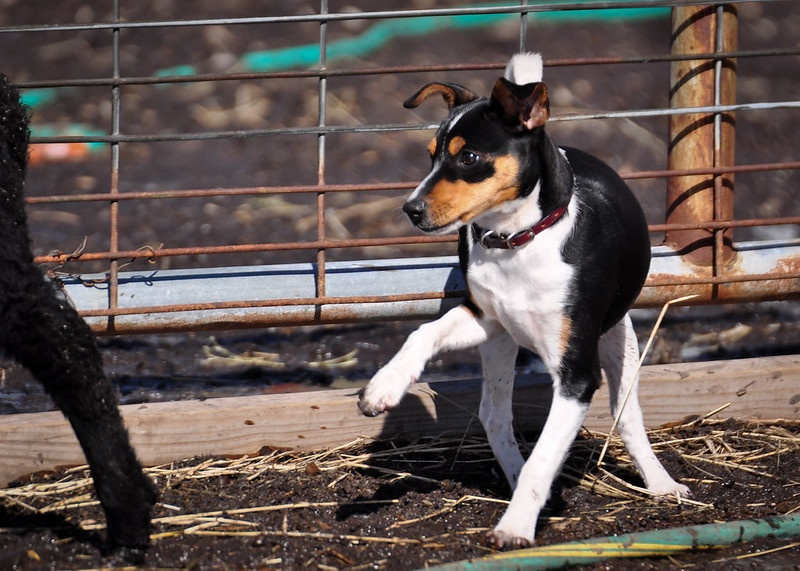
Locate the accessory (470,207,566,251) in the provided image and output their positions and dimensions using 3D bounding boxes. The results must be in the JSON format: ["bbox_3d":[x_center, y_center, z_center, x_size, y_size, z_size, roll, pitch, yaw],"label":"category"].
[{"bbox_3d":[0.681,-0.367,6.801,0.423,0.060,0.304,-12,-11,-10],"label":"accessory"}]

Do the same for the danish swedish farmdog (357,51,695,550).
[{"bbox_3d":[0.762,0.034,6.888,1.719,2.781,0.870,-4,6,1],"label":"danish swedish farmdog"}]
